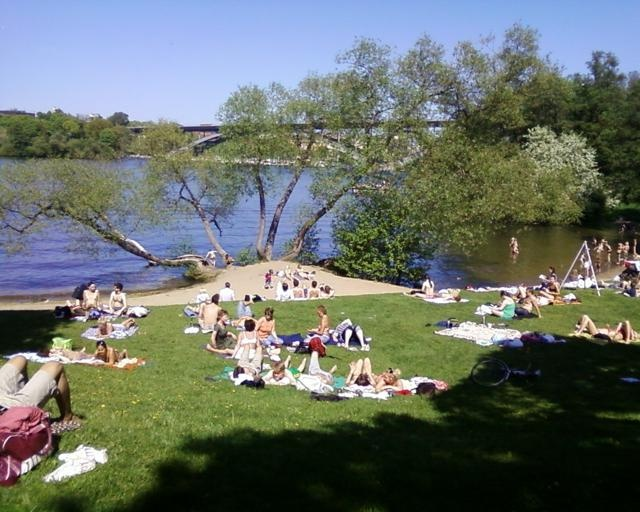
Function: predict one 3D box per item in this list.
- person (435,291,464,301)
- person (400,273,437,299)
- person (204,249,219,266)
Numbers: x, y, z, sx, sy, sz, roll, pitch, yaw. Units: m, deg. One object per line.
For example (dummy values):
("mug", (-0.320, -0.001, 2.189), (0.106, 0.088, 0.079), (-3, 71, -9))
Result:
("person", (6.728, 2.084, 29.594), (0.754, 0.284, 0.710), (5, 9, 25))
("person", (5.447, 1.607, 30.440), (1.456, 1.148, 1.622), (1, 8, -28))
("person", (-9.425, 0.175, 50.338), (0.390, 1.360, 1.349), (17, 25, 35))
